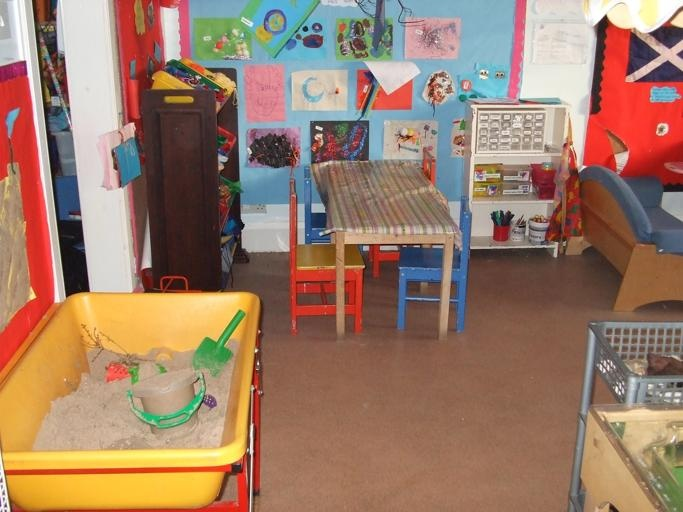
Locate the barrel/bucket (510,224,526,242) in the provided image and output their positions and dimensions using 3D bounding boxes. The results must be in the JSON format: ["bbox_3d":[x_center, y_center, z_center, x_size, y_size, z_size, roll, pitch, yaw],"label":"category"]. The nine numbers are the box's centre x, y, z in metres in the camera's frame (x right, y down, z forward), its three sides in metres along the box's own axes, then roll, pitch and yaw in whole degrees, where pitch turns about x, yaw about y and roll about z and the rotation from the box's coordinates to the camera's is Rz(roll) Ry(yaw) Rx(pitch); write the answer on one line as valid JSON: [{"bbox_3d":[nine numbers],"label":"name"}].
[{"bbox_3d":[1.873,-0.233,6.025,0.168,0.172,0.137,-5,30,-4],"label":"barrel/bucket"}]

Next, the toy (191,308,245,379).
[{"bbox_3d":[-0.574,0.433,2.803,0.186,0.378,0.075,31,4,12],"label":"toy"}]

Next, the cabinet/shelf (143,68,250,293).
[{"bbox_3d":[-1.327,-0.206,4.834,0.541,1.577,1.584,-3,-28,-16],"label":"cabinet/shelf"}]

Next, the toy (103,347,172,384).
[{"bbox_3d":[-0.991,0.538,2.764,0.292,0.081,0.182,-4,18,-8],"label":"toy"}]

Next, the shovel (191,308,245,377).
[{"bbox_3d":[-0.567,0.402,2.756,0.185,0.378,0.074,32,4,12],"label":"shovel"}]

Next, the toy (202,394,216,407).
[{"bbox_3d":[-0.600,0.668,2.630,0.064,0.052,0.055,3,18,14],"label":"toy"}]

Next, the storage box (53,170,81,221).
[{"bbox_3d":[-2.199,-0.466,4.567,0.165,0.342,0.172,-8,18,-22],"label":"storage box"}]

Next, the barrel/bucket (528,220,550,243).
[{"bbox_3d":[2.050,-0.266,6.011,0.207,0.243,0.213,-1,21,0],"label":"barrel/bucket"}]

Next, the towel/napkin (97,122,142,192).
[{"bbox_3d":[-1.478,-0.659,3.764,0.138,0.393,0.395,3,28,8],"label":"towel/napkin"}]

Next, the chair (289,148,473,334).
[{"bbox_3d":[0.246,-0.065,4.835,1.321,1.164,1.402,-1,17,1],"label":"chair"}]

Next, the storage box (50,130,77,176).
[{"bbox_3d":[-2.232,-0.823,4.589,0.149,0.346,0.064,-5,17,-10],"label":"storage box"}]

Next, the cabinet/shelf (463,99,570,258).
[{"bbox_3d":[1.752,-0.796,5.899,1.085,1.607,0.550,-4,17,-9],"label":"cabinet/shelf"}]

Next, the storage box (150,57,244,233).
[{"bbox_3d":[-1.124,-0.864,4.342,0.501,1.301,1.260,-1,27,-5],"label":"storage box"}]
